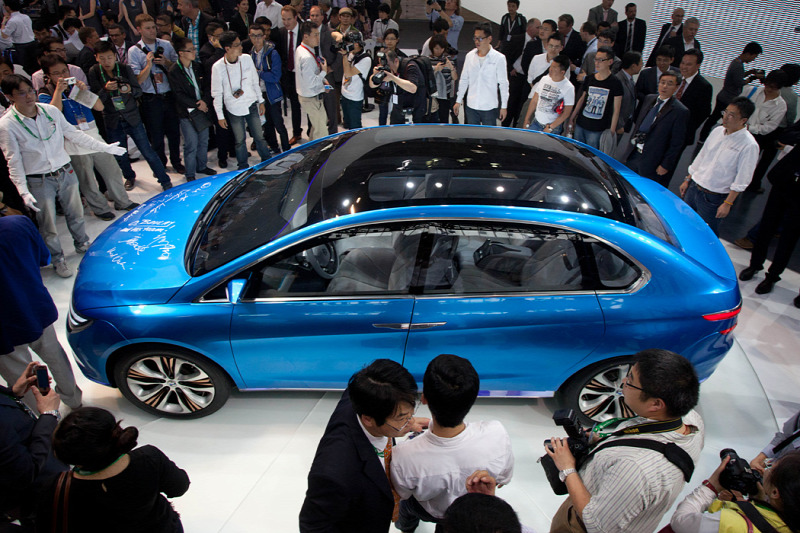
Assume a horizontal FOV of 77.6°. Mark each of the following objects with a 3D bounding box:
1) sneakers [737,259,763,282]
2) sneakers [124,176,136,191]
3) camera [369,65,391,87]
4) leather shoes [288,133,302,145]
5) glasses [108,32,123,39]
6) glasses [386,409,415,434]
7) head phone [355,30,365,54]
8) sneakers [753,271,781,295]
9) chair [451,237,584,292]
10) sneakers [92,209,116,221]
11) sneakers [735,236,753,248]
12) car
[{"bbox_3d":[4.107,0.054,5.824,0.265,0.110,0.088,-38,56,8],"label":"sneakers"},{"bbox_3d":[-3.876,-1.196,7.154,0.088,0.101,0.232,-3,37,-12],"label":"sneakers"},{"bbox_3d":[-0.286,-2.835,7.367,0.287,0.300,0.295,-4,-1,-1],"label":"camera"},{"bbox_3d":[-1.794,-2.205,8.565,0.111,0.131,0.328,18,33,10],"label":"leather shoes"},{"bbox_3d":[-4.045,-3.318,7.091,0.086,0.044,0.111,-2,11,-4],"label":"glasses"},{"bbox_3d":[0.006,0.885,2.771,0.147,0.044,0.143,-4,30,-28],"label":"glasses"},{"bbox_3d":[-0.610,-3.481,7.638,0.119,0.327,0.232,-4,11,-15],"label":"head phone"},{"bbox_3d":[4.204,0.192,5.691,0.264,0.106,0.088,-40,48,8],"label":"sneakers"},{"bbox_3d":[0.915,-0.038,3.881,0.989,0.438,0.279,2,26,-1],"label":"chair"},{"bbox_3d":[-3.857,-0.683,6.496,0.224,0.099,0.108,-1,47,-5],"label":"sneakers"},{"bbox_3d":[4.346,-0.297,6.265,0.213,0.092,0.078,0,72,9],"label":"sneakers"},{"bbox_3d":[0.047,0.361,4.692,5.410,1.852,2.462,1,53,-4],"label":"car"}]
